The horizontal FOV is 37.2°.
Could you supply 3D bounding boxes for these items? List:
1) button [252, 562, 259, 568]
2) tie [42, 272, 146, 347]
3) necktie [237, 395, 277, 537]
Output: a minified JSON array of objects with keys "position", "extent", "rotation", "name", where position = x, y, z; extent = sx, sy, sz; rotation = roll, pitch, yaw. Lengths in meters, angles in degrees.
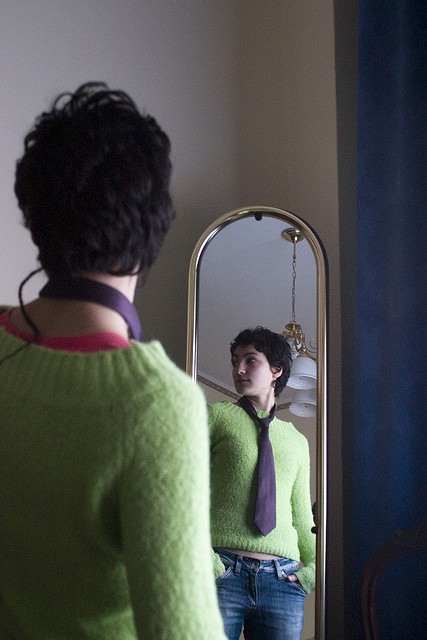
[{"position":[0.089,0.518,1.343],"extent":[0.011,0.011,0.003],"rotation":[0,-2,1],"name":"button"},{"position":[-0.095,-0.011,0.514],"extent":[0.063,0.031,0.060],"rotation":[27,-13,-13],"name":"tie"},{"position":[0.096,0.346,1.400],"extent":[0.067,0.218,0.066],"rotation":[0,6,-12],"name":"necktie"}]
